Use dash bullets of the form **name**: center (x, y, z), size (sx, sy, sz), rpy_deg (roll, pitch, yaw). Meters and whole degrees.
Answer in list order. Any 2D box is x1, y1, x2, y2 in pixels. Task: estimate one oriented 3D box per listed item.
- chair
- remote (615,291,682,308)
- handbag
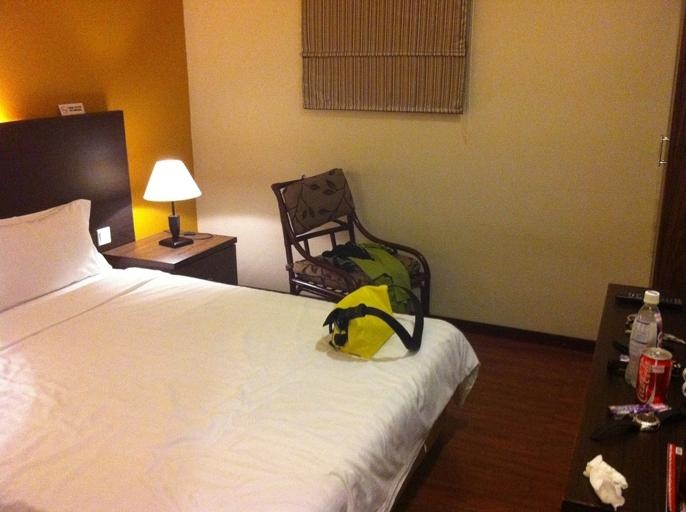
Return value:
- **chair**: center (0.065, 0.135, 3.874), size (0.951, 1.397, 0.874), rpy_deg (8, 20, 36)
- **remote**: center (1.514, 0.215, 2.586), size (0.190, 0.039, 0.119), rpy_deg (6, 11, 24)
- **handbag**: center (0.139, 0.314, 2.512), size (0.389, 0.205, 0.321), rpy_deg (2, 26, 26)
